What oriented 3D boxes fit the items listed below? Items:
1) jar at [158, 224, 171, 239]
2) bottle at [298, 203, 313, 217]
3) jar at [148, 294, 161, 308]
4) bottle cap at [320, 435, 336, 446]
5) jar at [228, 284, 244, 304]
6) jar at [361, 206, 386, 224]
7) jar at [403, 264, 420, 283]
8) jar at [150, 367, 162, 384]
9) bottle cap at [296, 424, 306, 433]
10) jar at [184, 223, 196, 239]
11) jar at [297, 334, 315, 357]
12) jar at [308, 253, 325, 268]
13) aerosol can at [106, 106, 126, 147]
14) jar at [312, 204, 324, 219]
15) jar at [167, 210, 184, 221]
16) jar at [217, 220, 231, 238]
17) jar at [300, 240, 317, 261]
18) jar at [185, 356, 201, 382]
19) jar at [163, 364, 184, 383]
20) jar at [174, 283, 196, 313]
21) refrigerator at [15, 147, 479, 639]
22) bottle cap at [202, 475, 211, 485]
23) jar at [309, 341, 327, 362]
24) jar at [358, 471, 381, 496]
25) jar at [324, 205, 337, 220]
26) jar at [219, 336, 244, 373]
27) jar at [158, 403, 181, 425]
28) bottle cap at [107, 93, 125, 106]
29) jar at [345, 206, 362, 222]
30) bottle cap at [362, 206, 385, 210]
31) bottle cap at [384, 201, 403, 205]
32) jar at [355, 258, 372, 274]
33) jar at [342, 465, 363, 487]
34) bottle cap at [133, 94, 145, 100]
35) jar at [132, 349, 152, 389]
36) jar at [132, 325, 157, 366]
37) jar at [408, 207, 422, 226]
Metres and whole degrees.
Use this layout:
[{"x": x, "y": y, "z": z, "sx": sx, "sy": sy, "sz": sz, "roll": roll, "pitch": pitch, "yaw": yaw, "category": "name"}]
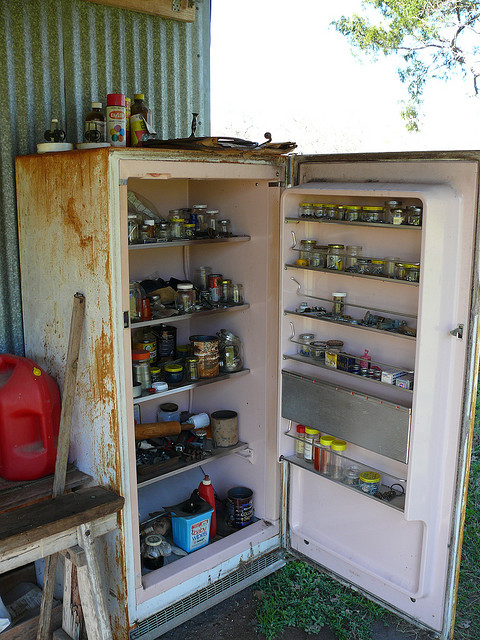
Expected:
[{"x": -0.304, "y": -0.354, "z": 2.119, "sx": 0.048, "sy": 0.066, "sz": 0.069, "roll": 1, "pitch": 21, "yaw": 1, "category": "jar"}, {"x": 0.258, "y": -0.440, "z": 2.100, "sx": 0.056, "sy": 0.048, "sz": 0.056, "roll": -6, "pitch": 21, "yaw": -14, "category": "bottle"}, {"x": -0.369, "y": -0.087, "z": 2.304, "sx": 0.053, "sy": 0.057, "sz": 0.053, "roll": 1, "pitch": 13, "yaw": 0, "category": "jar"}, {"x": 0.355, "y": 0.490, "z": 2.120, "sx": 0.058, "sy": 0.021, "sz": 0.058, "roll": 1, "pitch": 9, "yaw": 10, "category": "bottle cap"}, {"x": -0.017, "y": -0.118, "z": 2.435, "sx": 0.084, "sy": 0.095, "sz": 0.079, "roll": 1, "pitch": 8, "yaw": 0, "category": "jar"}, {"x": 0.454, "y": -0.360, "z": 1.795, "sx": 0.075, "sy": 0.052, "sz": 0.075, "roll": 0, "pitch": 16, "yaw": 0, "category": "jar"}, {"x": 0.546, "y": -0.149, "z": 1.673, "sx": 0.059, "sy": 0.056, "sz": 0.044, "roll": 10, "pitch": 17, "yaw": 35, "category": "jar"}, {"x": -0.363, "y": 0.237, "z": 2.264, "sx": 0.055, "sy": 0.055, "sz": 0.055, "roll": 2, "pitch": 18, "yaw": -1, "category": "jar"}, {"x": 0.263, "y": 0.469, "z": 2.262, "sx": 0.032, "sy": 0.022, "sz": 0.031, "roll": -2, "pitch": 6, "yaw": -36, "category": "bottle cap"}, {"x": -0.213, "y": -0.377, "z": 2.236, "sx": 0.041, "sy": 0.072, "sz": 0.077, "roll": 3, "pitch": 6, "yaw": 23, "category": "jar"}, {"x": 0.275, "y": 0.105, "z": 2.208, "sx": 0.065, "sy": 0.088, "sz": 0.089, "roll": 0, "pitch": 7, "yaw": -2, "category": "jar"}, {"x": 0.298, "y": -0.230, "z": 2.035, "sx": 0.060, "sy": 0.057, "sz": 0.059, "roll": 1, "pitch": 9, "yaw": 0, "category": "jar"}, {"x": -0.477, "y": -0.739, "z": 2.011, "sx": 0.086, "sy": 0.145, "sz": 0.067, "roll": 0, "pitch": 10, "yaw": -1, "category": "aerosol can"}, {"x": 0.303, "y": -0.418, "z": 2.024, "sx": 0.061, "sy": 0.066, "sz": 0.062, "roll": 0, "pitch": 14, "yaw": 0, "category": "jar"}, {"x": -0.268, "y": -0.432, "z": 2.191, "sx": 0.051, "sy": 0.043, "sz": 0.051, "roll": 1, "pitch": 11, "yaw": 0, "category": "jar"}, {"x": -0.067, "y": -0.407, "z": 2.346, "sx": 0.064, "sy": 0.086, "sz": 0.087, "roll": 0, "pitch": 11, "yaw": 1, "category": "jar"}, {"x": 0.267, "y": -0.276, "z": 2.130, "sx": 0.074, "sy": 0.115, "sz": 0.071, "roll": 0, "pitch": 10, "yaw": 0, "category": "jar"}, {"x": -0.209, "y": 0.217, "z": 2.330, "sx": 0.083, "sy": 0.124, "sz": 0.093, "roll": -1, "pitch": 6, "yaw": -5, "category": "jar"}, {"x": -0.291, "y": 0.235, "z": 2.310, "sx": 0.074, "sy": 0.052, "sz": 0.073, "roll": 0, "pitch": 14, "yaw": 0, "category": "jar"}, {"x": -0.234, "y": -0.094, "z": 2.269, "sx": 0.092, "sy": 0.121, "sz": 0.119, "roll": 1, "pitch": 7, "yaw": 5, "category": "jar"}, {"x": -0.065, "y": 0.285, "z": 2.007, "sx": 0.930, "sy": 1.848, "sz": 1.590, "roll": -9, "pitch": 14, "yaw": -42, "category": "refrigerator"}, {"x": -0.152, "y": 0.777, "z": 2.560, "sx": 0.044, "sy": 0.045, "sz": 0.044, "roll": 5, "pitch": 2, "yaw": 14, "category": "bottle cap"}, {"x": 0.325, "y": 0.132, "z": 2.172, "sx": 0.071, "sy": 0.067, "sz": 0.070, "roll": 1, "pitch": 12, "yaw": 0, "category": "jar"}, {"x": 0.479, "y": 0.597, "z": 1.930, "sx": 0.072, "sy": 0.053, "sz": 0.072, "roll": 0, "pitch": 7, "yaw": 0, "category": "jar"}, {"x": 0.336, "y": -0.405, "z": 1.963, "sx": 0.034, "sy": 0.049, "sz": 0.077, "roll": -6, "pitch": 12, "yaw": -32, "category": "jar"}, {"x": -0.041, "y": 0.167, "z": 2.456, "sx": 0.156, "sy": 0.161, "sz": 0.104, "roll": 0, "pitch": 3, "yaw": -7, "category": "jar"}, {"x": -0.349, "y": 0.464, "z": 2.591, "sx": 0.102, "sy": 0.128, "sz": 0.081, "roll": 2, "pitch": 11, "yaw": 12, "category": "jar"}, {"x": -0.465, "y": -0.829, "z": 1.968, "sx": 0.048, "sy": 0.032, "sz": 0.050, "roll": 22, "pitch": 29, "yaw": 39, "category": "bottle cap"}, {"x": 0.402, "y": -0.374, "z": 1.852, "sx": 0.064, "sy": 0.059, "sz": 0.064, "roll": 1, "pitch": 14, "yaw": 0, "category": "jar"}, {"x": 0.457, "y": -0.386, "z": 1.808, "sx": 0.069, "sy": 0.013, "sz": 0.077, "roll": 3, "pitch": 11, "yaw": 12, "category": "bottle cap"}, {"x": 0.506, "y": -0.384, "z": 1.729, "sx": 0.033, "sy": 0.009, "sz": 0.034, "roll": 2, "pitch": 6, "yaw": 20, "category": "bottle cap"}, {"x": 0.439, "y": -0.189, "z": 1.859, "sx": 0.027, "sy": 0.047, "sz": 0.051, "roll": -14, "pitch": 21, "yaw": -39, "category": "jar"}, {"x": 0.451, "y": 0.617, "z": 2.083, "sx": 0.066, "sy": 0.060, "sz": 0.066, "roll": 0, "pitch": 22, "yaw": 0, "category": "jar"}, {"x": -0.406, "y": -0.893, "z": 2.118, "sx": 0.035, "sy": 0.021, "sz": 0.035, "roll": 7, "pitch": 18, "yaw": 17, "category": "bottle cap"}, {"x": -0.418, "y": 0.223, "z": 2.221, "sx": 0.088, "sy": 0.137, "sz": 0.084, "roll": 0, "pitch": 8, "yaw": 0, "category": "jar"}, {"x": -0.429, "y": 0.113, "z": 2.384, "sx": 0.102, "sy": 0.176, "sz": 0.102, "roll": 2, "pitch": 14, "yaw": 0, "category": "jar"}, {"x": 0.550, "y": -0.327, "z": 1.655, "sx": 0.034, "sy": 0.052, "sz": 0.058, "roll": 2, "pitch": 11, "yaw": 11, "category": "jar"}]
